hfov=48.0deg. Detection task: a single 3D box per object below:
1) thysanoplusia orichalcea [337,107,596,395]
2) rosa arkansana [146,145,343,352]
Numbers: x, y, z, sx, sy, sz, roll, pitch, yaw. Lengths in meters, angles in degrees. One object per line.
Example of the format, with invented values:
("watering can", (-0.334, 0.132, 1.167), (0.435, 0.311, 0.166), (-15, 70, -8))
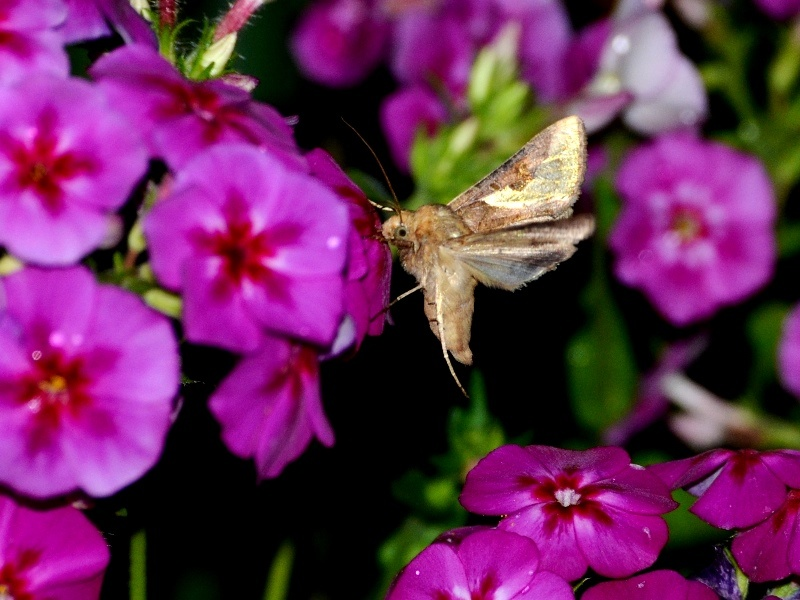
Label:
("thysanoplusia orichalcea", (0.070, -0.031, 0.783), (0.176, 0.240, 0.233), (-1, 74, 12))
("rosa arkansana", (-0.079, -0.044, 0.465), (0.094, 0.109, 0.059), (-7, 16, -31))
